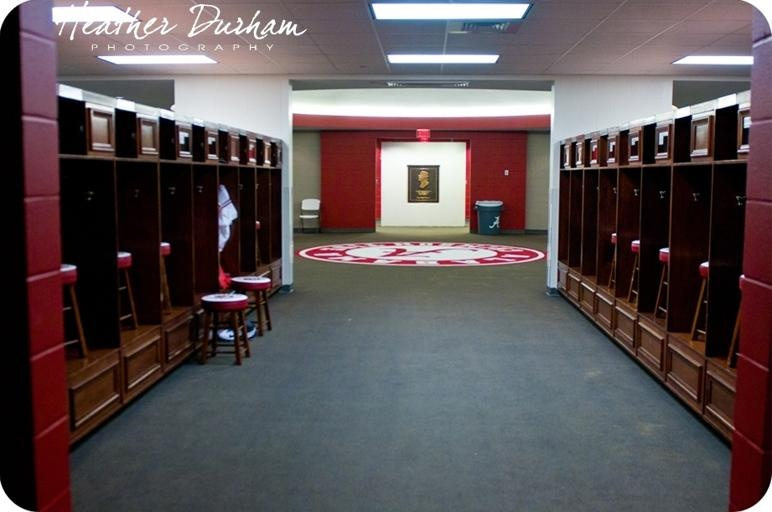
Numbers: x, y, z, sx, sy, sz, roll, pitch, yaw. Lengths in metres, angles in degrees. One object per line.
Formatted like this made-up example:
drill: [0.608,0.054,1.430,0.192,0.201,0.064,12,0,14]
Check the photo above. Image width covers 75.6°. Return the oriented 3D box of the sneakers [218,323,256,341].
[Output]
sneakers: [-1.816,0.929,5.914,0.256,0.102,0.353,1,7,6]

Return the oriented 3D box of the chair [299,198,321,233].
chair: [-2.636,-1.364,17.112,0.749,1.136,0.553,-1,10,-6]

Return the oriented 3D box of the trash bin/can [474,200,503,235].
trash bin/can: [3.427,-1.223,16.718,1.137,1.040,1.019,0,-3,-4]
